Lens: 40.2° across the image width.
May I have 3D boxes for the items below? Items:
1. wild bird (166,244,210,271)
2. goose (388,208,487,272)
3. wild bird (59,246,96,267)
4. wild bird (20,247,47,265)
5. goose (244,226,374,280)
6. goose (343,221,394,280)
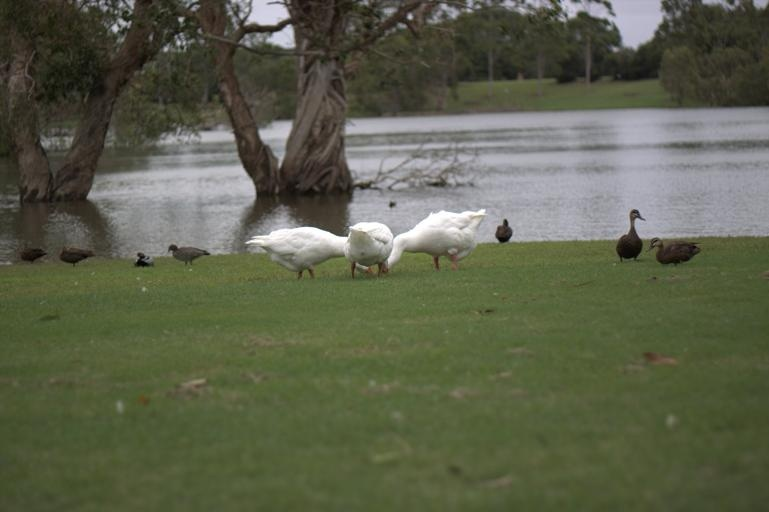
[{"bbox_3d":[-7.482,-0.043,40.005,1.111,0.674,1.964,-4,7,-16],"label":"wild bird"},{"bbox_3d":[1.782,-0.539,36.273,3.450,1.895,1.744,-33,13,7],"label":"goose"},{"bbox_3d":[-11.707,0.016,39.808,1.078,0.663,0.593,1,7,22],"label":"wild bird"},{"bbox_3d":[-14.146,0.021,42.335,1.078,0.363,0.607,-1,-9,17],"label":"wild bird"},{"bbox_3d":[-2.650,-0.064,35.442,4.078,1.750,1.460,4,3,-16],"label":"goose"},{"bbox_3d":[-0.570,-0.176,34.509,1.346,1.793,2.197,0,7,17],"label":"goose"}]
